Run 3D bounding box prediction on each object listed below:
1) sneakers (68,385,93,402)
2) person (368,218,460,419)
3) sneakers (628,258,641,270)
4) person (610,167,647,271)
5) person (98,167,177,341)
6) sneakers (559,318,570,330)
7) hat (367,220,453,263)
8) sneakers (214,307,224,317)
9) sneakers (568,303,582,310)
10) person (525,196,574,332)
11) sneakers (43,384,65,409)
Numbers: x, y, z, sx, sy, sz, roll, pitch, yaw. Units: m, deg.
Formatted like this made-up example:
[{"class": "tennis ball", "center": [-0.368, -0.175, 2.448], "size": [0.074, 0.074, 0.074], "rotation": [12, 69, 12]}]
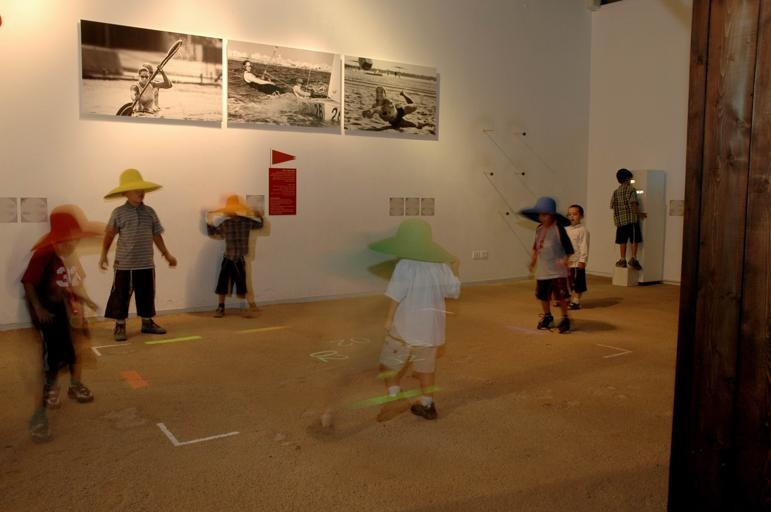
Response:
[{"class": "sneakers", "center": [-2.200, 1.002, 3.775], "size": [0.194, 0.125, 0.103], "rotation": [4, 5, 34]}, {"class": "person", "center": [0.268, 0.413, 4.005], "size": [0.575, 1.449, 1.422], "rotation": [2, 10, 8]}, {"class": "sneakers", "center": [3.921, 0.138, 8.124], "size": [0.214, 0.141, 0.100], "rotation": [6, 3, -20]}, {"class": "person", "center": [3.761, -0.552, 8.092], "size": [0.544, 1.536, 0.340], "rotation": [10, 14, 42]}, {"class": "person", "center": [-2.528, -0.021, 5.273], "size": [0.643, 1.648, 0.654], "rotation": [-5, 12, -29]}, {"class": "sneakers", "center": [1.962, 0.761, 5.672], "size": [0.089, 0.108, 0.158], "rotation": [0, -8, 7]}, {"class": "hat", "center": [0.194, -0.076, 3.457], "size": [0.362, 0.165, 0.368], "rotation": [13, 0, -4]}, {"class": "sneakers", "center": [-1.877, 0.615, 5.931], "size": [0.098, 0.152, 0.167], "rotation": [-3, 11, -17]}, {"class": "sneakers", "center": [2.405, 0.637, 6.614], "size": [0.072, 0.069, 0.159], "rotation": [1, 8, 2]}, {"class": "person", "center": [1.702, 0.141, 5.417], "size": [0.507, 1.439, 0.596], "rotation": [4, 11, 20]}, {"class": "sneakers", "center": [-2.300, 0.985, 3.616], "size": [0.130, 0.142, 0.328], "rotation": [9, -18, -35]}]
